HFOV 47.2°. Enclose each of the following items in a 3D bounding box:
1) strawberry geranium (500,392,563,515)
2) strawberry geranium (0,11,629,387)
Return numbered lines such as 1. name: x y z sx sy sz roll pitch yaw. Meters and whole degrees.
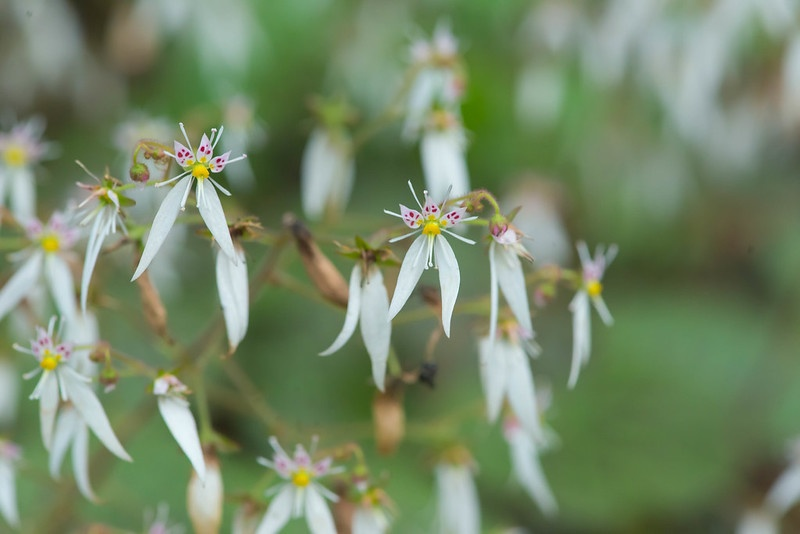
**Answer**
1. strawberry geranium: 0.257 0.393 1.863 0.077 0.315 0.067 -29 13 -30
2. strawberry geranium: -0.165 -0.080 1.707 0.974 0.505 0.775 2 22 -15
